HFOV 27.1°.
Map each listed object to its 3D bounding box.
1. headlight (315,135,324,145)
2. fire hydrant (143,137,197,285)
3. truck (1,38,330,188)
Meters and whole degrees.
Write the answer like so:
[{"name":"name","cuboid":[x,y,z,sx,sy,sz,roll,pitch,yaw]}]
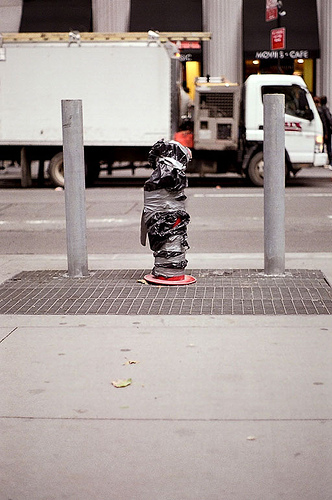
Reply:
[{"name":"headlight","cuboid":[3.711,-2.697,16.806,0.227,0.198,0.054,1,-1,-3]},{"name":"fire hydrant","cuboid":[0.022,-0.337,6.334,0.489,1.294,0.532,-2,12,-2]},{"name":"truck","cuboid":[-0.108,-3.639,17.897,8.636,3.780,5.671,1,12,8]}]
